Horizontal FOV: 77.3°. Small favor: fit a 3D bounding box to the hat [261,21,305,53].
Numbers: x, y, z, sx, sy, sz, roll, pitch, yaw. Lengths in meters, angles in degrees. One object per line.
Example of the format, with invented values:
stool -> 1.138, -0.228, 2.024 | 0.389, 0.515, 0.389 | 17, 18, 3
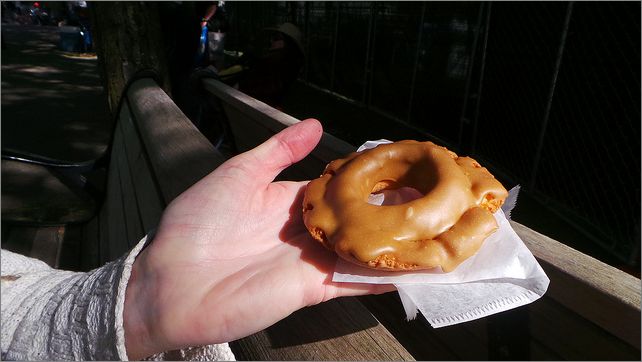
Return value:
hat -> -0.580, -2.496, 6.927 | 0.533, 0.418, 0.763 | -6, 30, -13
